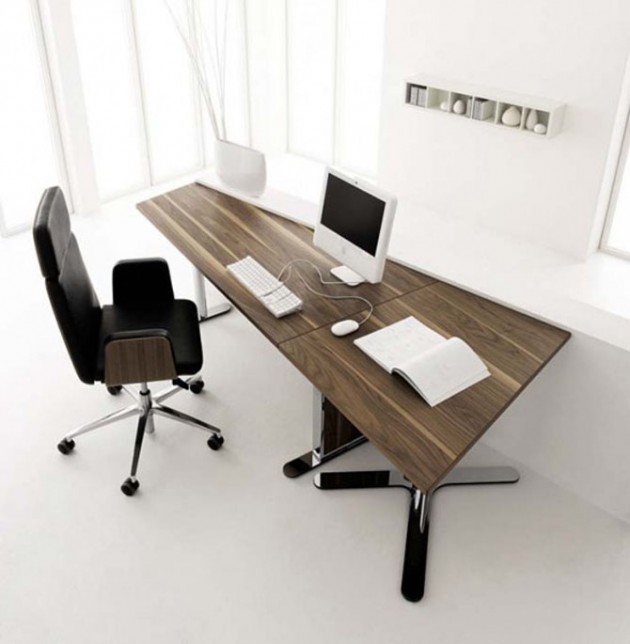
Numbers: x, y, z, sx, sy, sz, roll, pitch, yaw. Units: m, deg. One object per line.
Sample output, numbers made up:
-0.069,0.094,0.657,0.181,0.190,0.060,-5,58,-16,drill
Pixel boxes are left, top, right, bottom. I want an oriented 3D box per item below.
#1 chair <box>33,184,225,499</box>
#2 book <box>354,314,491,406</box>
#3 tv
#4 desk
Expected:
-0.789,0.039,2.386,0.684,1.181,0.747,24,34,33,chair
0.361,0.104,1.828,0.317,0.083,0.433,-16,38,-28,book
0.164,-0.394,2.275,0.371,0.433,0.123,33,38,33,tv
0.063,0.169,2.439,0.951,0.842,1.920,-18,38,-32,desk
